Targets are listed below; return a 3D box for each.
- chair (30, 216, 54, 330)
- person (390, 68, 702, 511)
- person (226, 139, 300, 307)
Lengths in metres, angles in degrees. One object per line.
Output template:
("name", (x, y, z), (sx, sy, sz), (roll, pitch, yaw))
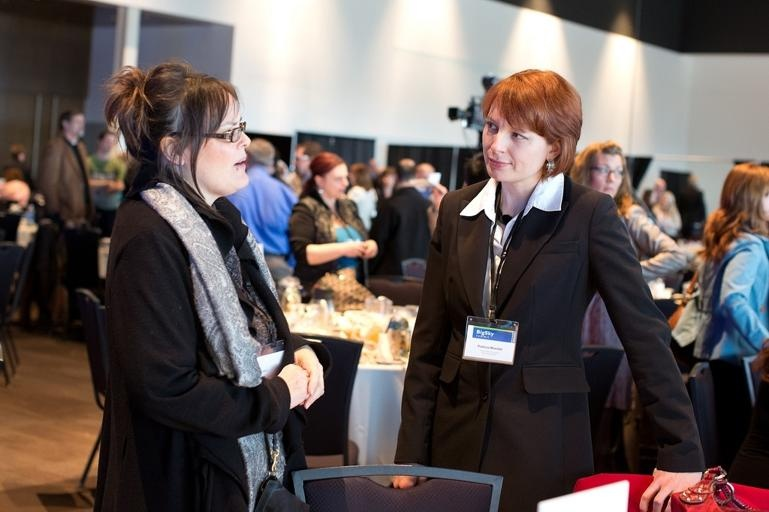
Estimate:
("chair", (-3.529, 0.189, 6.645), (0.233, 1.130, 0.264), (1, 9, -29))
("person", (0.538, 0.115, 2.030), (0.886, 1.367, 0.280), (7, 8, 14))
("person", (-0.913, -0.356, 5.409), (0.583, 1.397, 0.421), (-5, 44, 1))
